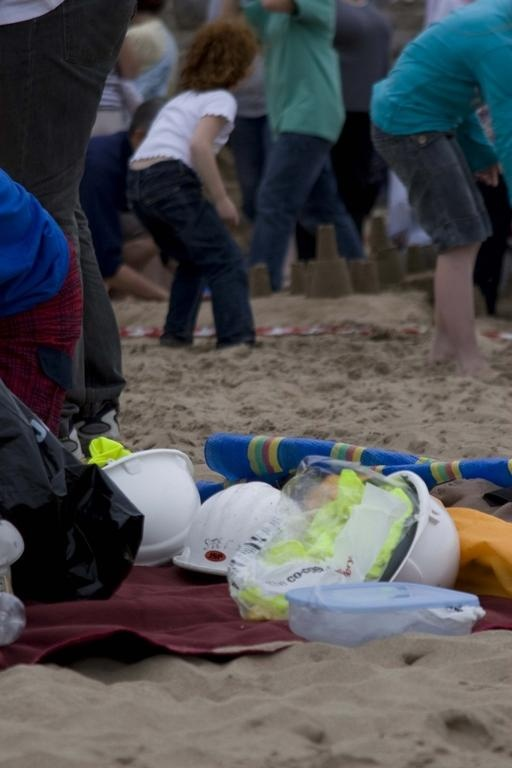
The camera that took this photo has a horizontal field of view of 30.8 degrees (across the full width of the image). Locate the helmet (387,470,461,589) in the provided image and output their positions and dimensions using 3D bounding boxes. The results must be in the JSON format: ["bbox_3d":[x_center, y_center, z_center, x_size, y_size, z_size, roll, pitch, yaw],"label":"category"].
[{"bbox_3d":[0.309,0.252,1.635,0.147,0.180,0.166,-8,12,21],"label":"helmet"}]

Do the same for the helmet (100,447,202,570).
[{"bbox_3d":[-0.206,0.254,2.001,0.191,0.130,0.260,-30,-12,6],"label":"helmet"}]

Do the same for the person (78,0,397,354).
[{"bbox_3d":[-0.020,-1.026,4.524,1.637,1.863,0.883,-20,43,-26],"label":"person"}]

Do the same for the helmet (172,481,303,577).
[{"bbox_3d":[-0.025,0.296,1.958,0.221,0.156,0.303,4,6,30],"label":"helmet"}]
